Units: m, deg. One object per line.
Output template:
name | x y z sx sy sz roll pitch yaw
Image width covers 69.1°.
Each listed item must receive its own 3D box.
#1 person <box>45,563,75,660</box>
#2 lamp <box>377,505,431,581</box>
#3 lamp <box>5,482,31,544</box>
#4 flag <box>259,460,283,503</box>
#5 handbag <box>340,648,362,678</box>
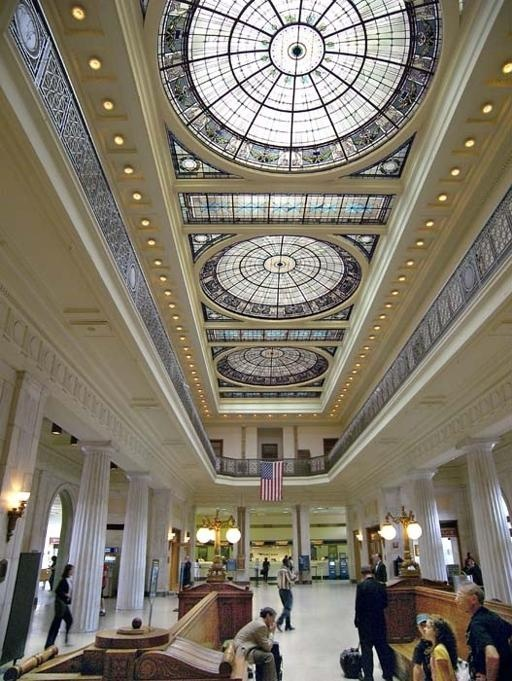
person | -3.523 4.866 6.815 0.384 1.327 1.952 10 -26 -22
lamp | 3.349 4.456 8.274 1.004 1.378 0.974 6 -25 -10
lamp | -3.210 2.314 4.963 0.170 0.651 0.428 6 -25 -13
flag | 0.759 6.592 17.704 0.978 1.687 0.544 -5 -25 10
handbag | 1.241 4.161 4.795 0.259 0.303 0.346 -7 -25 13
